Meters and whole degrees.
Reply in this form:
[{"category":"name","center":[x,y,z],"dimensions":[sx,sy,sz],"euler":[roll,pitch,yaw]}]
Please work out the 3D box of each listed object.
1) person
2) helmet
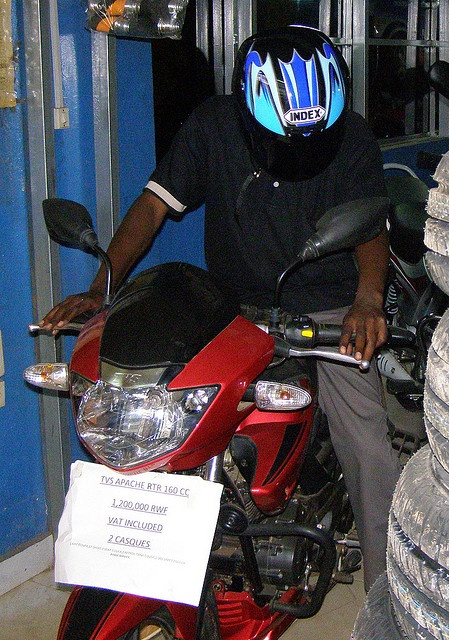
[{"category":"person","center":[0.175,-0.093,1.908],"dimensions":[1.082,1.918,0.913],"euler":[9,31,22]},{"category":"helmet","center":[0.182,-0.589,1.452],"dimensions":[0.319,0.311,0.391],"euler":[-2,44,2]}]
